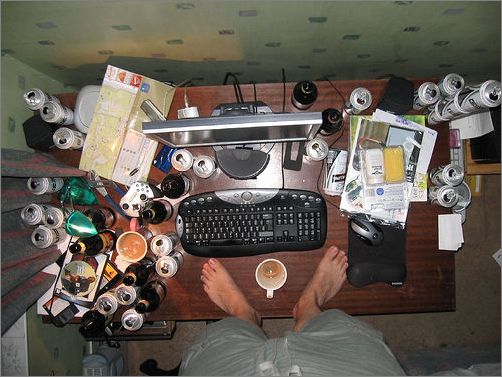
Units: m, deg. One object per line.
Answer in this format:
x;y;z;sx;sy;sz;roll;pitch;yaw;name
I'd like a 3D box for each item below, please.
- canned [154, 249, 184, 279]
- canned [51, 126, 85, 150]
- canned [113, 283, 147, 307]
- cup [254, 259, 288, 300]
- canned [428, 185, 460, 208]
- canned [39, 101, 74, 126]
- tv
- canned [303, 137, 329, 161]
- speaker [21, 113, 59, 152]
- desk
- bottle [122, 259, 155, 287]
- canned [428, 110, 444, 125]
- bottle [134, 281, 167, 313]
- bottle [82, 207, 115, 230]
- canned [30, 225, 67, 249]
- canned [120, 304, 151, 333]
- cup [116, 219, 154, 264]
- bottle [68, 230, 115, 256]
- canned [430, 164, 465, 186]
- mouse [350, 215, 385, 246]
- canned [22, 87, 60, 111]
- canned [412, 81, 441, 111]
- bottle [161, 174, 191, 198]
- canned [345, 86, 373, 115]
-0.368;0.338;1.730;0.122;0.115;0.178;16;0;-3;canned
-0.859;-0.253;1.747;0.116;0.112;0.182;-4;11;-2;canned
-0.571;0.501;1.676;0.101;0.096;0.108;3;1;2;canned
0.094;0.411;1.749;0.141;0.203;0.149;4;-1;0;cup
0.911;0.037;1.702;0.118;0.115;0.072;3;1;13;canned
-0.913;-0.371;1.756;0.119;0.112;0.179;-3;14;3;canned
-0.053;-0.184;1.589;0.712;0.300;0.429;3;1;10;tv
0.302;-0.183;1.681;0.104;0.102;0.111;-2;7;9;canned
-1.024;-0.277;1.738;0.127;0.177;0.092;25;12;1;speaker
0.014;0.077;1.703;1.747;1.022;0.406;-3;6;-2;desk
-0.511;0.393;1.647;0.158;0.112;0.109;3;1;-28;bottle
0.870;-0.333;1.707;0.063;0.050;0.064;-23;-23;26;canned
-0.472;0.492;1.659;0.066;0.072;0.199;-39;8;7;bottle
-0.724;0.148;1.715;0.060;0.093;0.145;3;1;26;bottle
-0.940;0.227;1.673;0.138;0.088;0.093;3;1;-20;canned
-0.529;0.592;1.638;0.114;0.100;0.047;3;1;-25;canned
-0.540;0.262;1.701;0.142;0.215;0.139;7;11;-1;cup
-0.730;0.264;1.658;0.191;0.105;0.196;3;1;0;bottle
0.910;-0.058;1.692;0.108;0.118;0.156;5;4;4;canned
0.550;0.202;1.710;0.159;0.095;0.051;29;1;9;mouse
-1.021;-0.427;1.750;0.142;0.082;0.168;3;1;-28;canned
0.817;-0.432;1.675;0.096;0.088;0.129;-32;8;4;canned
-0.340;-0.022;1.695;0.118;0.115;0.124;0;10;6;bottle
0.515;-0.415;1.707;0.135;0.127;0.099;3;1;8;canned
